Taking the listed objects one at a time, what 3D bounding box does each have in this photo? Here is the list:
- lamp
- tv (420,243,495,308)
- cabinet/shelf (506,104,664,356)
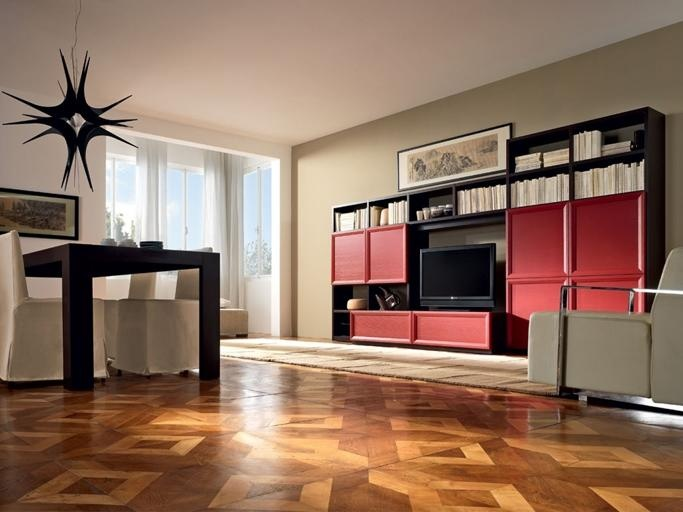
[{"bbox_3d":[-3.165,-1.588,5.736,1.082,1.404,1.078,-7,-16,23],"label":"lamp"},{"bbox_3d":[1.387,0.240,5.863,0.785,0.589,0.139,-2,-2,44],"label":"tv"},{"bbox_3d":[2.329,-0.058,5.028,1.263,2.259,0.532,-3,-12,37],"label":"cabinet/shelf"}]
